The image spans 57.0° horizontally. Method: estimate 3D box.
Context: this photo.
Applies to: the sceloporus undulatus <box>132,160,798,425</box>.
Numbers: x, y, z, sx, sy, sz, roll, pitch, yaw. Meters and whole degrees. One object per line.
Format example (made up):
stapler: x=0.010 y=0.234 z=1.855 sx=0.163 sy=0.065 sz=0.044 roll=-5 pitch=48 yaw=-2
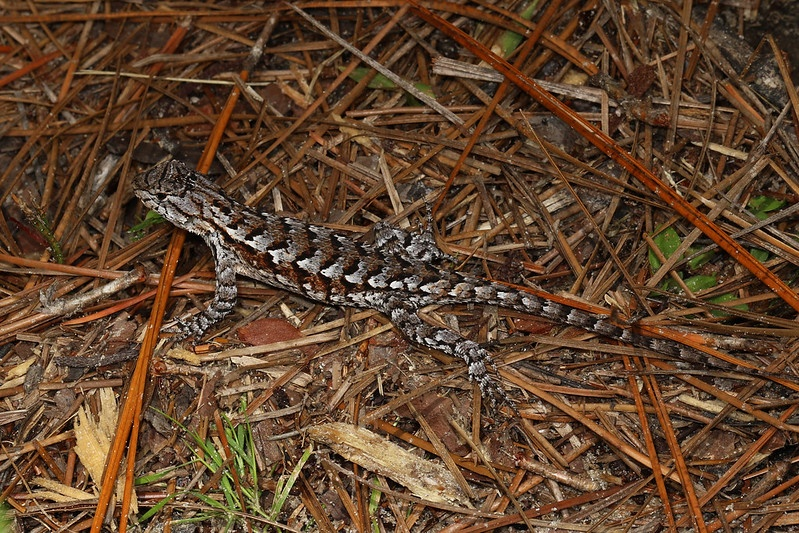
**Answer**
sceloporus undulatus: x=-0.424 y=0.081 z=6.743 sx=6.444 sy=0.887 sz=2.115 roll=15 pitch=66 yaw=5
